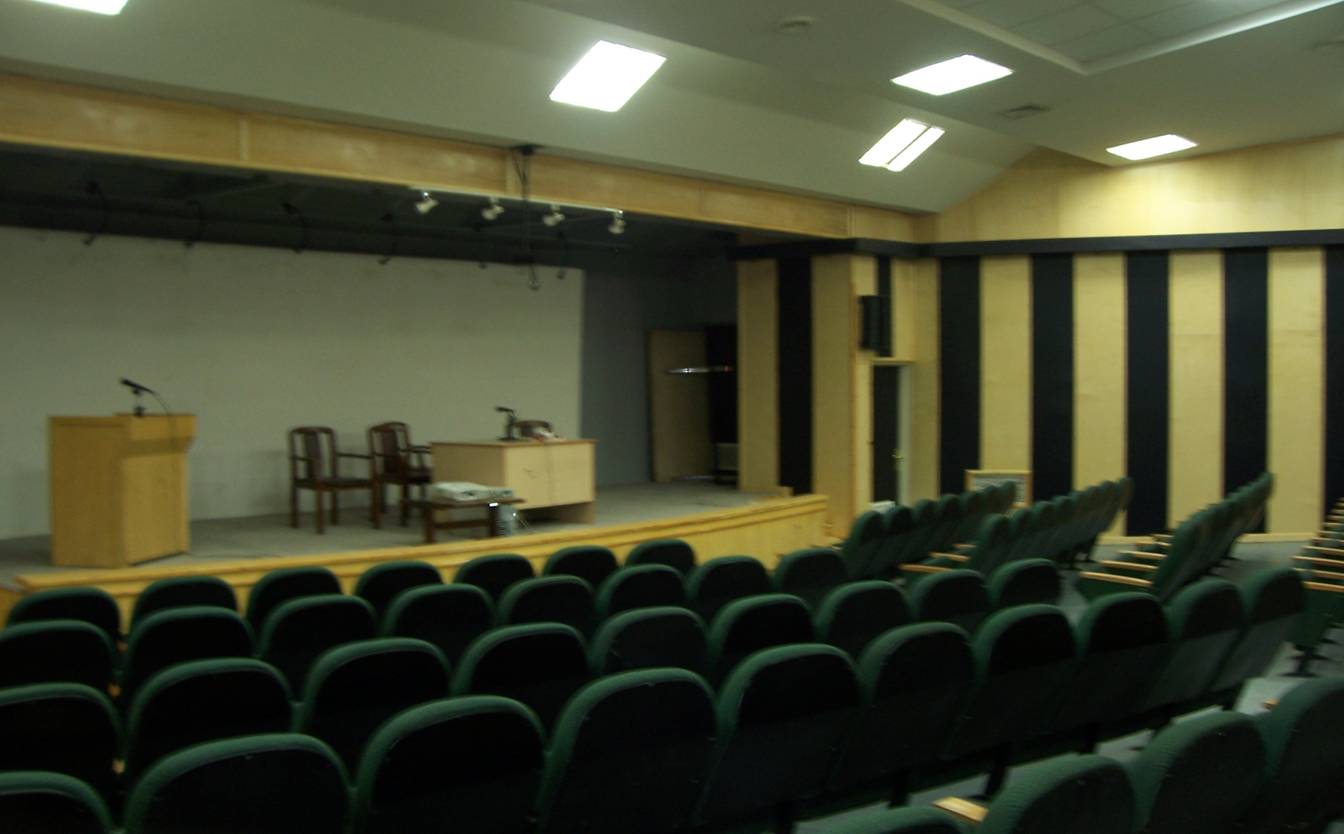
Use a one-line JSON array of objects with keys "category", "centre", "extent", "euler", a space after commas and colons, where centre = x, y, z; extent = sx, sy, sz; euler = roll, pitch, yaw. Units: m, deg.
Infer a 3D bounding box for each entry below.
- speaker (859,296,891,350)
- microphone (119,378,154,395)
[{"category": "speaker", "centre": [2.596, -1.250, 13.309], "extent": [0.719, 0.658, 0.687], "euler": [1, 6, 16]}, {"category": "microphone", "centre": [-5.314, -0.295, 9.930], "extent": [0.170, 0.136, 0.889], "euler": [4, 2, -39]}]
